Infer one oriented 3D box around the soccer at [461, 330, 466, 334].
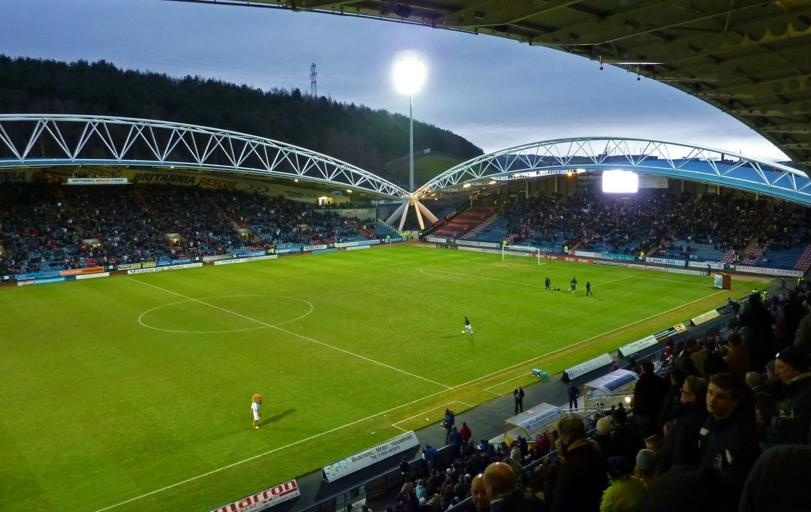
[{"bbox_3d":[4.037,5.311,47.223,0.216,0.228,0.359,-2,-9,15],"label":"soccer"}]
